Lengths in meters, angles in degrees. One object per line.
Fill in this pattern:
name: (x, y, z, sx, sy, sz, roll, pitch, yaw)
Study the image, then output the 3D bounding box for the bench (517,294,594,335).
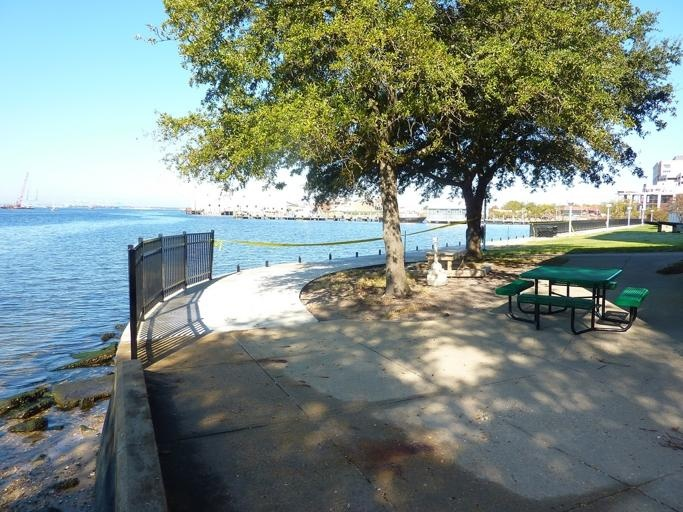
bench: (4.717, 1.138, 10.321, 1.501, 0.782, 1.895, 2, 10, 18)

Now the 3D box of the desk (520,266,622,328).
desk: (5.144, 0.677, 10.488, 1.795, 0.975, 1.799, 0, -1, 26)
